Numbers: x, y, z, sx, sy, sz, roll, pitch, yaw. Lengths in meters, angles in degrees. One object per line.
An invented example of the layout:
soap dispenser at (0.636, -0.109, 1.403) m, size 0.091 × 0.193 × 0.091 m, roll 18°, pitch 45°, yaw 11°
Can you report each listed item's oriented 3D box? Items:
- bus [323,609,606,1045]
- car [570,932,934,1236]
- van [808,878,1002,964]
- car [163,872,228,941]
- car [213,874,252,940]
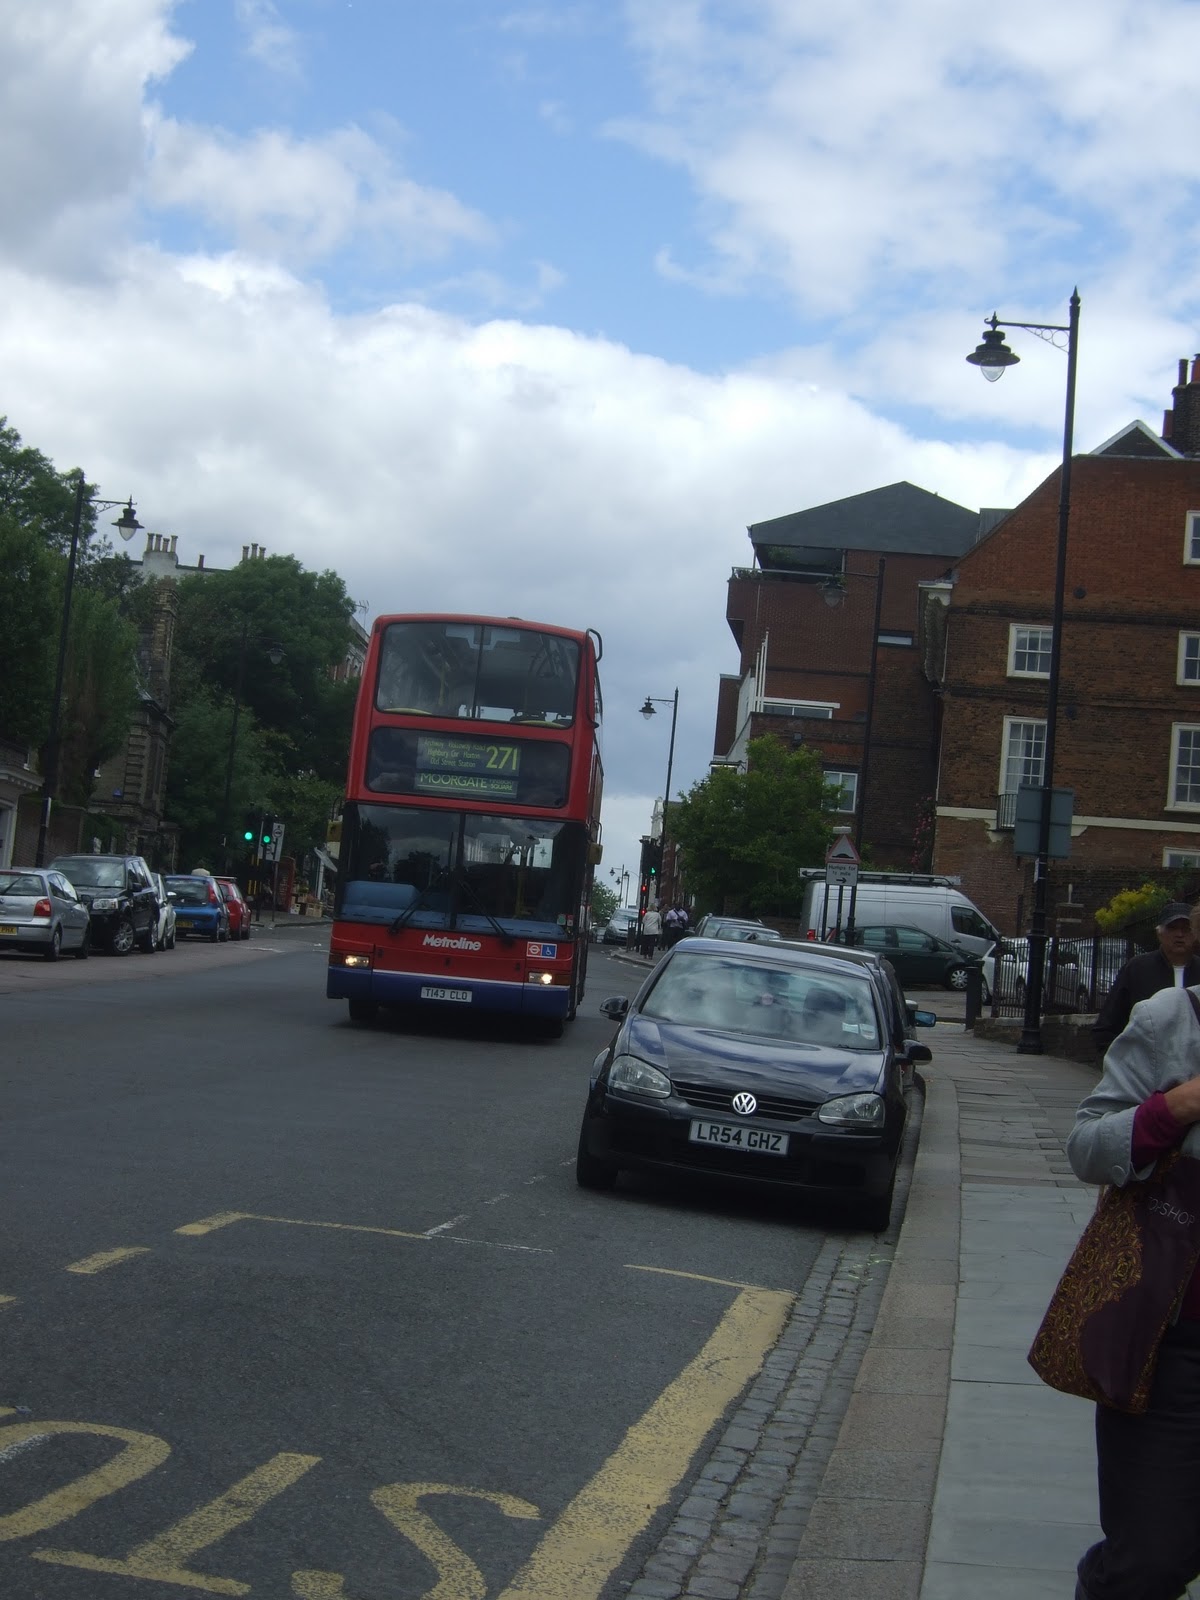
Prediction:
bus at (-1.682, 0.196, 19.170) m, size 3.011 × 4.902 × 1.375 m, roll 6°, pitch -5°, yaw -12°
car at (0.966, 1.743, 9.494) m, size 1.846 × 1.621 × 1.998 m, roll 4°, pitch -5°, yaw 16°
van at (8.996, 3.884, 43.692) m, size 6.971 × 3.487 × 2.845 m, roll 0°, pitch -2°, yaw -4°
car at (-12.270, 3.354, 45.939) m, size 1.573 × 1.878 × 1.526 m, roll 5°, pitch -5°, yaw -2°
car at (-12.035, 3.687, 48.919) m, size 1.184 × 1.112 × 2.026 m, roll 0°, pitch 2°, yaw 0°
